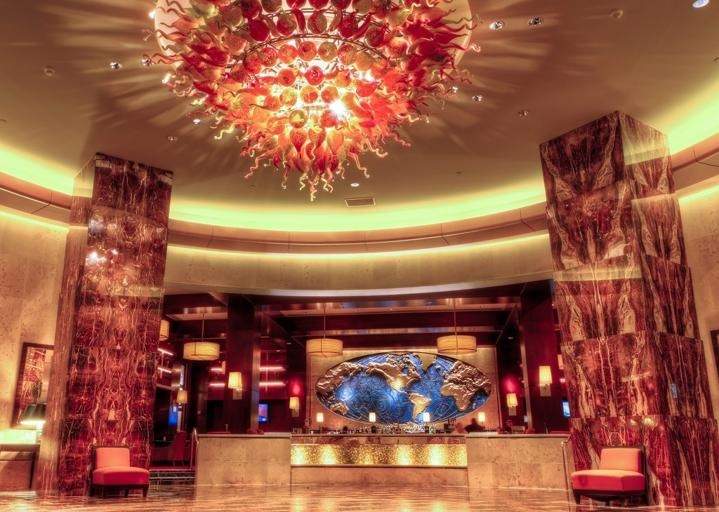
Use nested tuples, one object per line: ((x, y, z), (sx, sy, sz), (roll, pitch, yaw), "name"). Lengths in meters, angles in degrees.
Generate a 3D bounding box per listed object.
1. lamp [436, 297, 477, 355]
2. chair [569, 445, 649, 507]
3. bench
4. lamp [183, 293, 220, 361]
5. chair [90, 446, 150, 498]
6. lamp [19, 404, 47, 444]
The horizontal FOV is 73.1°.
((3.179, 2.398, 15.839), (1.153, 1.478, 1.367), (-16, -26, 34), "lamp")
((3.370, 2.982, 6.798), (0.793, 0.918, 1.017), (18, -25, -31), "chair")
((0.348, 5.133, 12.087), (4.202, 0.935, 0.728), (-7, -22, 14), "bench")
((-5.200, 2.672, 16.170), (0.984, 1.590, 5.492), (6, -22, -17), "lamp")
((-3.718, 3.389, 7.750), (0.811, 0.785, 0.766), (16, -27, -42), "chair")
((-6.487, 3.279, 9.665), (0.391, 0.767, 0.826), (14, -26, -33), "lamp")
